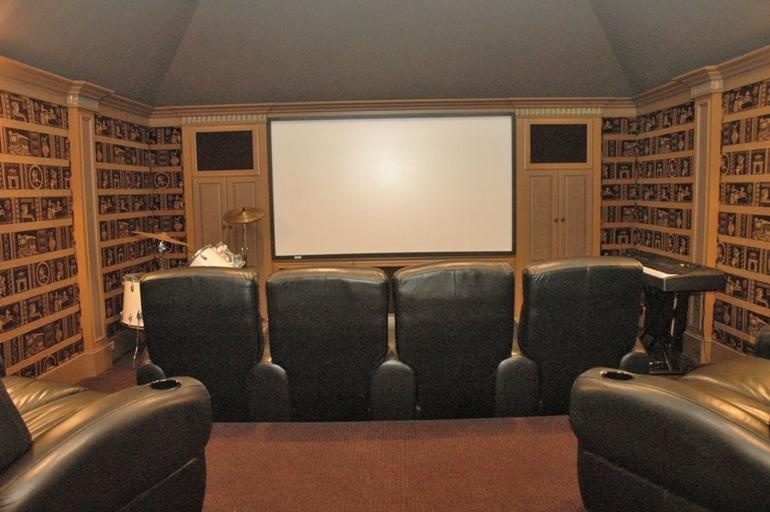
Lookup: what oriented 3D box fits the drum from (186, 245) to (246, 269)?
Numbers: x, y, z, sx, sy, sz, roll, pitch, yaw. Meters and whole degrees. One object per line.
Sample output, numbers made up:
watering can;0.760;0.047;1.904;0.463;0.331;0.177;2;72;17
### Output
drum;-1.580;0.009;5.352;0.619;0.229;0.463;0;3;-25
